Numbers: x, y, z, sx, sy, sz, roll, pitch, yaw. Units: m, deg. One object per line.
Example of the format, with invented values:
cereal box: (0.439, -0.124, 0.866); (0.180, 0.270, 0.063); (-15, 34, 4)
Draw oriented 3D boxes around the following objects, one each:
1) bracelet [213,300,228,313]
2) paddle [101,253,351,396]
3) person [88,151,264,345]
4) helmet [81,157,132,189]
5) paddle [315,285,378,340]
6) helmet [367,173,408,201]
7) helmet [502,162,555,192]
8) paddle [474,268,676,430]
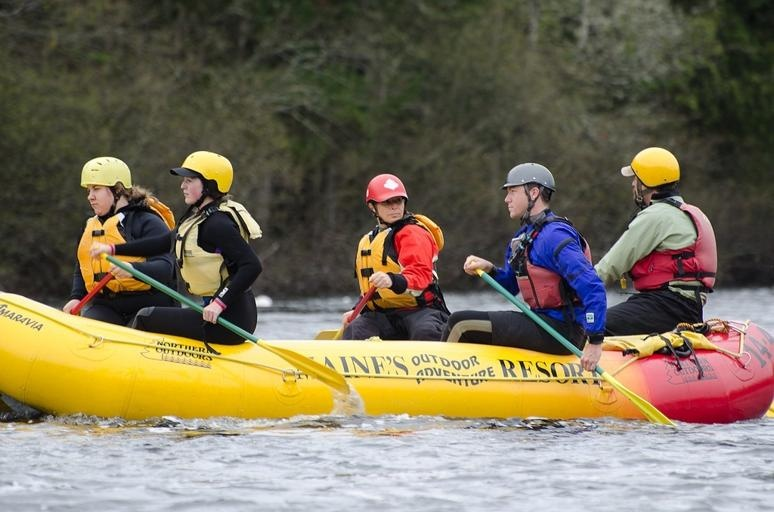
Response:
bracelet: (-1.937, 0.569, 18.415); (0.160, 0.138, 0.055); (29, 1, -23)
paddle: (-2.063, 0.895, 19.486); (4.046, 0.135, 0.404); (22, -27, -3)
person: (-2.252, -0.088, 18.606); (1.549, 2.266, 0.678); (-1, 5, -2)
helmet: (-3.477, -1.026, 19.261); (0.549, 0.314, 0.668); (7, 5, 36)
paddle: (-0.447, 0.727, 19.543); (0.393, 1.034, 0.176); (42, 4, -33)
helmet: (0.019, -0.815, 19.295); (0.485, 0.331, 0.324); (0, 4, 0)
helmet: (1.724, -0.952, 18.826); (0.550, 0.214, 0.365); (7, 1, 0)
paddle: (2.164, 1.061, 17.956); (0.264, 0.360, 4.766); (32, -5, 29)
